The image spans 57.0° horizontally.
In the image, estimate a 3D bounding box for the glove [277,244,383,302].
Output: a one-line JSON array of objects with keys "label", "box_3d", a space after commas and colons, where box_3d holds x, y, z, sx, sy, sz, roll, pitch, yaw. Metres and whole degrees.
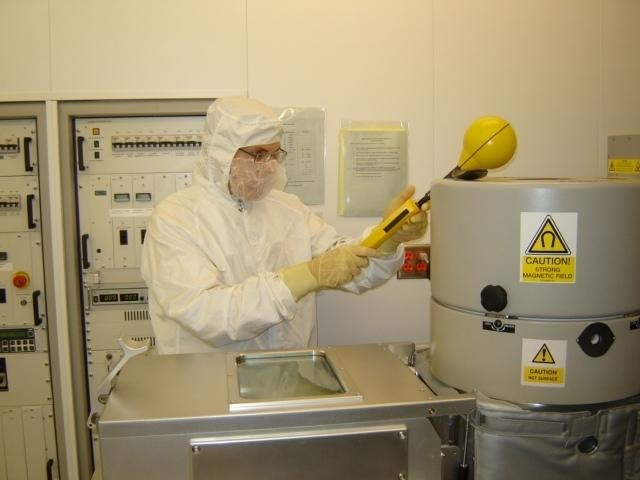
[{"label": "glove", "box_3d": [0.024, 0.107, 1.948, 0.318, 0.167, 0.080, -3, 4, -13]}]

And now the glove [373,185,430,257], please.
[{"label": "glove", "box_3d": [0.294, -0.036, 2.027, 0.241, 0.081, 0.187, -42, 25, 32]}]
